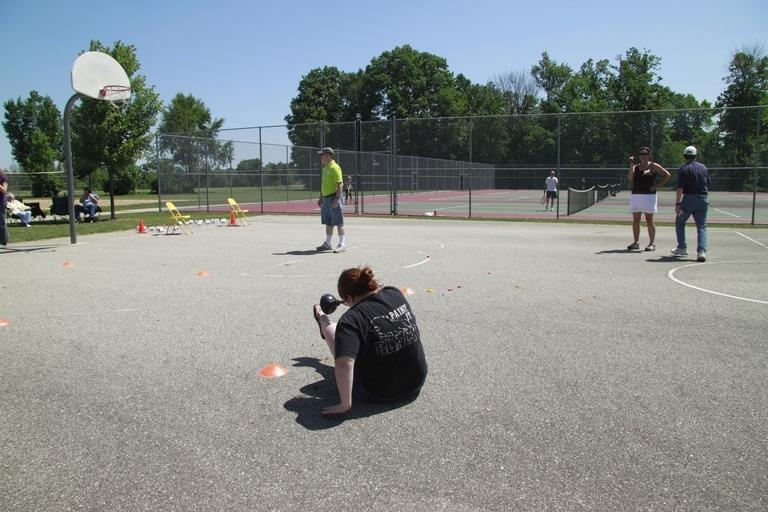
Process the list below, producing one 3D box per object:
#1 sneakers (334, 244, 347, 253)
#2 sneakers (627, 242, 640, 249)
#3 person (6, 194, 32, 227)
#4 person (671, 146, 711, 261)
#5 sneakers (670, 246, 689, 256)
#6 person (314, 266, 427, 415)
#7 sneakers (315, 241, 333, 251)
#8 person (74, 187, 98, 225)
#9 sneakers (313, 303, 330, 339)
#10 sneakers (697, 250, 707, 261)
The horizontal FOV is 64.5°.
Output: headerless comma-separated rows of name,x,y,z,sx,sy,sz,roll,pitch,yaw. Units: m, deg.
sneakers,-0.990,-0.152,13.845,0.119,0.141,0.291,-1,0,25
sneakers,5.699,-0.220,13.852,0.147,0.166,0.379,-3,-1,43
person,-12.492,-1.614,20.848,0.687,1.134,2.654,-6,11,-30
person,6.496,-1.105,12.767,0.676,2.294,1.228,4,10,27
sneakers,6.172,-0.068,12.669,0.136,0.204,0.424,-4,12,5
person,-0.180,0.693,6.276,0.941,1.039,1.395,-15,20,-18
sneakers,-1.390,-0.195,13.815,0.423,0.199,0.152,2,5,18
person,-10.922,-1.928,22.377,0.686,1.249,0.777,-2,2,-12
sneakers,-0.665,0.687,6.503,0.183,0.534,0.136,0,-9,-14
sneakers,6.526,0.005,12.475,0.132,0.170,0.380,2,8,24
